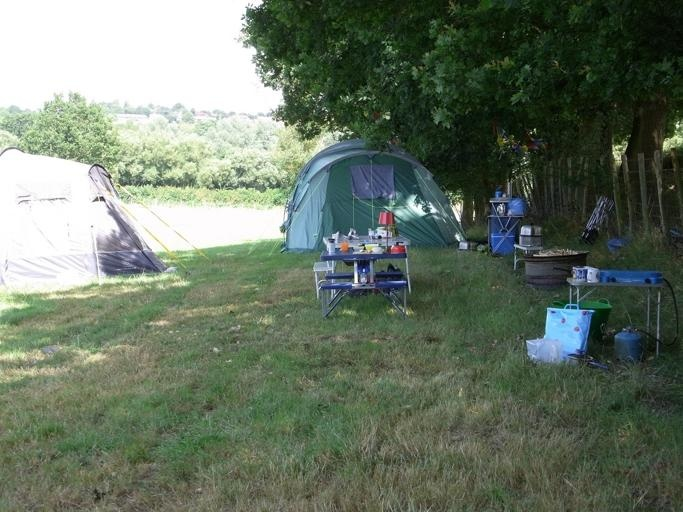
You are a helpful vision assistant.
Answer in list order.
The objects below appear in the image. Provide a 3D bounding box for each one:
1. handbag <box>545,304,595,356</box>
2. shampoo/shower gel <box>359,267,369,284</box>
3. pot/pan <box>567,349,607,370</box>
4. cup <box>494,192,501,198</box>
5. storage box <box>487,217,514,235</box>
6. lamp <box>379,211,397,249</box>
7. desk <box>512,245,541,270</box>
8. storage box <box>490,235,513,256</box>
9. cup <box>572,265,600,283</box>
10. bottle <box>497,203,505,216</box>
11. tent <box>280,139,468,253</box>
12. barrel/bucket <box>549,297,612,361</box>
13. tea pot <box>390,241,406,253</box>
[{"bbox_3d":[2.952,0.941,9.279,0.553,0.757,0.259,5,17,12],"label":"handbag"},{"bbox_3d":[0.358,0.305,10.885,0.190,0.385,0.194,1,7,8],"label":"shampoo/shower gel"},{"bbox_3d":[3.092,1.317,8.896,0.209,0.151,0.326,-1,7,-25],"label":"pot/pan"},{"bbox_3d":[3.566,-1.419,16.063,0.147,0.185,0.155,0,7,0],"label":"cup"},{"bbox_3d":[3.703,-0.709,16.236,0.564,0.428,0.208,2,7,35],"label":"storage box"},{"bbox_3d":[0.793,-0.483,12.199,0.218,0.601,0.274,1,6,16],"label":"lamp"},{"bbox_3d":[3.783,0.005,14.520,0.557,0.606,0.592,-5,10,-8],"label":"desk"},{"bbox_3d":[3.700,-0.261,16.195,0.428,0.492,0.462,-2,-3,24],"label":"storage box"},{"bbox_3d":[3.251,0.246,9.326,0.293,0.164,0.193,0,1,3],"label":"cup"},{"bbox_3d":[3.625,-1.077,15.942,0.167,0.257,0.134,11,33,28],"label":"bottle"},{"bbox_3d":[0.969,-1.462,17.410,3.246,2.236,3.436,-1,3,-3],"label":"tent"},{"bbox_3d":[3.173,0.918,9.377,0.646,0.660,0.660,-3,4,0],"label":"barrel/bucket"},{"bbox_3d":[0.902,-0.132,11.144,0.238,0.125,0.622,-2,6,5],"label":"tea pot"}]
